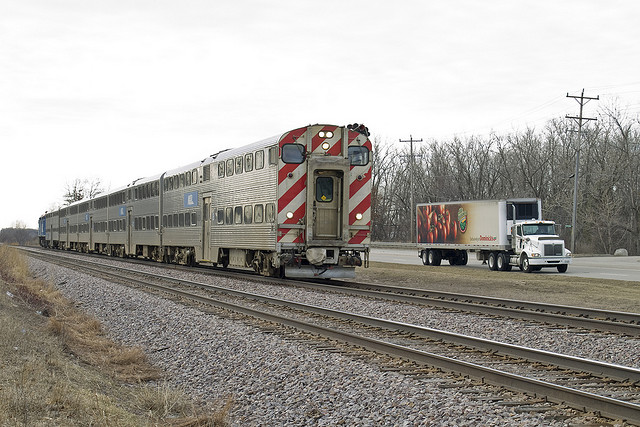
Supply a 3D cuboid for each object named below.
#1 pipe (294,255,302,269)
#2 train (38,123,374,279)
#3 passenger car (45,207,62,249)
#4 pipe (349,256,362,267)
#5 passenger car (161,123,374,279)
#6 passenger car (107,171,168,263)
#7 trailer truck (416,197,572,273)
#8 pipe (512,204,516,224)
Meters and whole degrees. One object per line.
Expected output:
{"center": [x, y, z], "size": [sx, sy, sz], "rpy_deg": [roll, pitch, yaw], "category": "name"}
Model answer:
{"center": [-0.898, 1.928, 21.199], "size": [0.288, 0.600, 0.465], "rpy_deg": [-1, 2, -2], "category": "pipe"}
{"center": [-10.977, 0.411, 35.611], "size": [4.746, 6.670, 35.359], "rpy_deg": [2, -4, -40], "category": "train"}
{"center": [-32.471, 1.788, 64.683], "size": [1.620, 4.899, 4.758], "rpy_deg": [2, -5, -27], "category": "passenger car"}
{"center": [1.467, 1.908, 21.917], "size": [0.445, 0.414, 1.317], "rpy_deg": [-1, 2, 8], "category": "pipe"}
{"center": [-4.278, -0.155, 27.189], "size": [4.126, 6.934, 17.658], "rpy_deg": [-3, 2, -38], "category": "passenger car"}
{"center": [-12.615, 0.496, 38.032], "size": [11.434, 5.944, 2.089], "rpy_deg": [-4, -4, 44], "category": "passenger car"}
{"center": [10.955, 1.425, 35.796], "size": [3.154, 4.686, 12.761], "rpy_deg": [1, -2, -19], "category": "trailer truck"}
{"center": [11.520, 0.066, 31.613], "size": [0.175, 1.115, 0.699], "rpy_deg": [0, 3, 19], "category": "pipe"}
